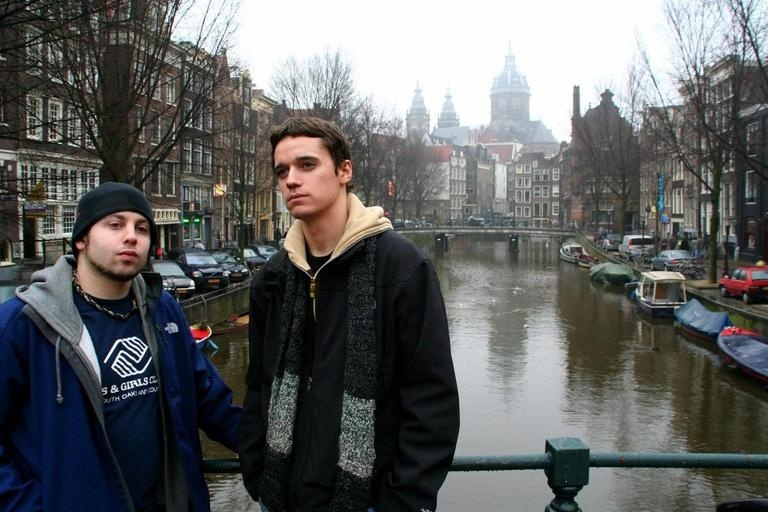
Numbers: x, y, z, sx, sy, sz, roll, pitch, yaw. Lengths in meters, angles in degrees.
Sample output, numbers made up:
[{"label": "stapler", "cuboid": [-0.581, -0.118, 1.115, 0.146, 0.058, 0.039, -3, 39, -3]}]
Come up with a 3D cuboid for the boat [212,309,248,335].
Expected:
[{"label": "boat", "cuboid": [-4.555, 1.992, 23.193, 0.460, 0.258, 1.799, 6, 7, 15]}]

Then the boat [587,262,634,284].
[{"label": "boat", "cuboid": [11.621, 0.916, 38.857, 1.093, 1.094, 3.062, -1, 8, -12]}]

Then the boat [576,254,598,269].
[{"label": "boat", "cuboid": [13.060, 0.310, 49.404, 0.633, 0.694, 2.235, 2, 6, -1]}]

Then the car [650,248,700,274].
[{"label": "car", "cuboid": [13.310, 0.237, 34.994, 1.026, 0.826, 2.469, 2, 7, 5]}]

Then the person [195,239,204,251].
[{"label": "person", "cuboid": [-9.624, -0.613, 39.847, 0.557, 0.564, 0.979, 12, -12, -14]}]

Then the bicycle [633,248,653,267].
[{"label": "bicycle", "cuboid": [14.123, 0.026, 41.731, 0.738, 0.852, 1.333, 0, 4, 0]}]

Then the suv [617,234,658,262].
[{"label": "suv", "cuboid": [14.396, -0.508, 43.316, 1.291, 1.224, 2.443, 0, 8, 7]}]

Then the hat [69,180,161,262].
[{"label": "hat", "cuboid": [-2.174, -0.337, 6.319, 0.593, 0.570, 0.564, -23, -25, 31]}]

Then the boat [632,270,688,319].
[{"label": "boat", "cuboid": [9.949, 1.351, 27.434, 1.300, 1.530, 2.496, 0, 8, -4]}]
